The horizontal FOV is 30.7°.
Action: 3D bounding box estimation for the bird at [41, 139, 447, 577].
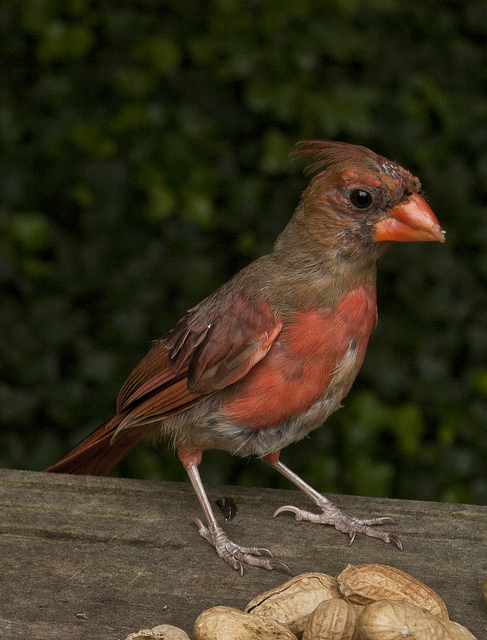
[{"bbox_3d":[0.001,0.096,2.683,0.757,1.022,1.719,-8,2,-40],"label":"bird"}]
